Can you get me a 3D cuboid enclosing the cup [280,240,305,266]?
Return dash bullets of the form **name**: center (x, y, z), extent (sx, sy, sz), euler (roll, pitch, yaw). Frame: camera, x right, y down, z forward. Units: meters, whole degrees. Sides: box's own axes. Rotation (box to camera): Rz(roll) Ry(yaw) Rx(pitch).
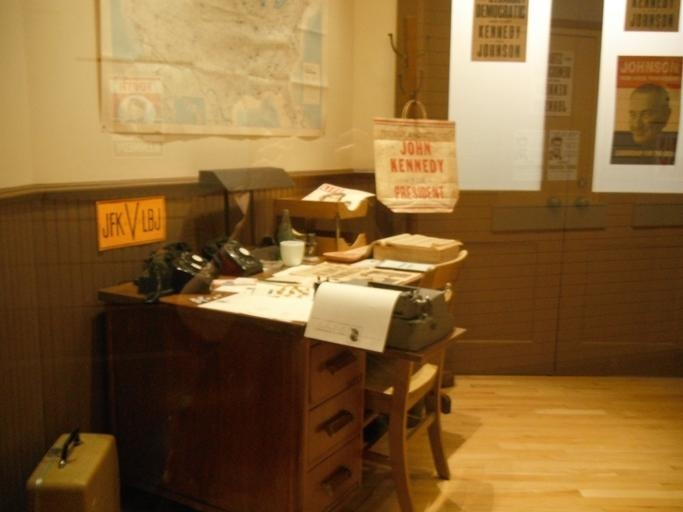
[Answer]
- **cup**: center (-0.224, -0.010, 2.705), extent (0.121, 0.093, 0.104), euler (-8, 15, -20)
